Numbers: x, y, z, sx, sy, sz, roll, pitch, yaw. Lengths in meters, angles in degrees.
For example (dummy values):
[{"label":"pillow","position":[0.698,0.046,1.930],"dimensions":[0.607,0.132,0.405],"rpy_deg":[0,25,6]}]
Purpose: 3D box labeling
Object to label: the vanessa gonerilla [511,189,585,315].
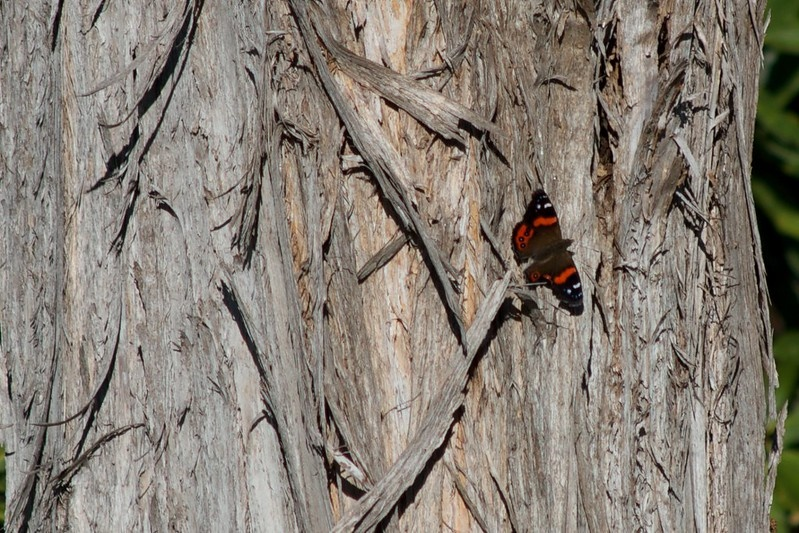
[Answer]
[{"label":"vanessa gonerilla","position":[0.456,-0.051,5.072],"dimensions":[0.224,0.380,0.093],"rpy_deg":[1,-2,6]}]
